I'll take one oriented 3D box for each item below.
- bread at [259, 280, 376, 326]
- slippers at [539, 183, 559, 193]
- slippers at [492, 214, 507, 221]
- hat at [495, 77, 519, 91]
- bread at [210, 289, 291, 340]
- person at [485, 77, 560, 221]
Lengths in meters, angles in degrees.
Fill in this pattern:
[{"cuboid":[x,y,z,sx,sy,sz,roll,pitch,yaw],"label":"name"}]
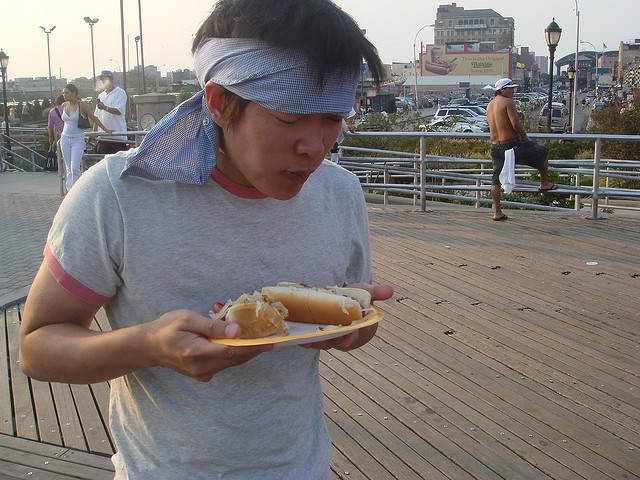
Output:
[{"cuboid":[-0.006,0.130,1.177,0.212,0.074,0.110,3,8,11],"label":"bread"},{"cuboid":[3.305,-0.734,7.214,0.281,0.074,0.107,-9,13,-12],"label":"slippers"},{"cuboid":[2.520,-0.297,6.970,0.189,0.047,0.079,-6,17,-16],"label":"slippers"},{"cuboid":[2.633,-2.193,7.159,0.403,0.195,0.296,-4,19,10],"label":"hat"},{"cuboid":[-0.145,0.167,1.077,0.169,0.092,0.105,-3,10,-14],"label":"bread"},{"cuboid":[2.840,-1.288,7.129,0.910,1.966,0.761,-1,10,0],"label":"person"}]
